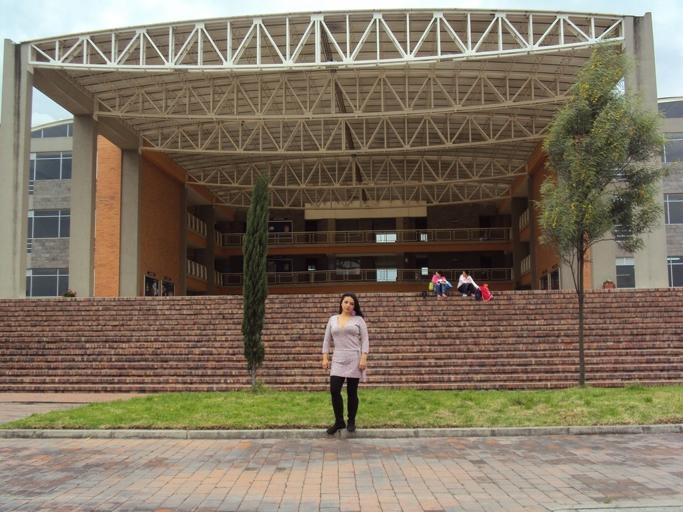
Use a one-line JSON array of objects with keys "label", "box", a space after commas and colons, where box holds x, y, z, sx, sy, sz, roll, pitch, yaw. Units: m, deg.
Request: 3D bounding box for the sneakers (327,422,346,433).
[{"label": "sneakers", "box": [-0.106, 2.977, 12.500, 0.371, 0.153, 0.145, -3, -1, -29]}]

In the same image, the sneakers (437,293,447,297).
[{"label": "sneakers", "box": [3.860, 1.534, 27.598, 0.200, 0.152, 0.480, -2, 3, -20]}]

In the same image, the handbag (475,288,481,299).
[{"label": "handbag", "box": [5.236, 1.437, 27.487, 0.227, 0.400, 0.722, -2, -8, 11]}]

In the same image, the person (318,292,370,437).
[{"label": "person", "box": [0.069, 1.843, 12.441, 0.752, 2.438, 0.857, 0, -8, -1]}]
